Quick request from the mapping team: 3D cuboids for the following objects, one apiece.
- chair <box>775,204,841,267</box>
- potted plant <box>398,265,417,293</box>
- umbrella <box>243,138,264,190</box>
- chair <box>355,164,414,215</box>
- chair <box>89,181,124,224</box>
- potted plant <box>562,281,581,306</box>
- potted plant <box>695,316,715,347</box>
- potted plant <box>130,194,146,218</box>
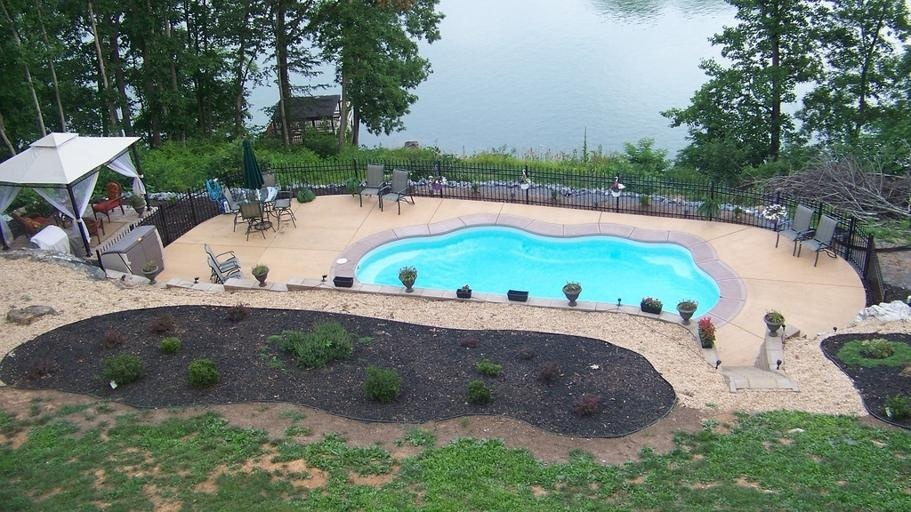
[{"bbox_3d":[14.783,-0.742,23.920,1.495,1.739,1.990,-27,31,-15],"label":"chair"},{"bbox_3d":[-1.859,0.909,23.022,0.976,1.043,0.939,-2,20,-1],"label":"potted plant"},{"bbox_3d":[-9.307,-4.149,26.277,0.840,2.255,1.318,-4,17,-17],"label":"umbrella"},{"bbox_3d":[-3.305,-3.311,28.112,2.529,2.085,1.503,1,16,-2],"label":"chair"},{"bbox_3d":[-16.101,-2.521,26.500,1.016,1.553,1.139,16,32,24],"label":"chair"},{"bbox_3d":[4.522,1.464,22.214,0.859,0.847,0.800,-5,27,2],"label":"potted plant"},{"bbox_3d":[9.035,2.713,20.736,0.531,0.595,1.105,-1,18,8],"label":"potted plant"},{"bbox_3d":[-14.897,-2.390,26.898,0.639,0.999,0.784,-7,18,-27],"label":"potted plant"}]
